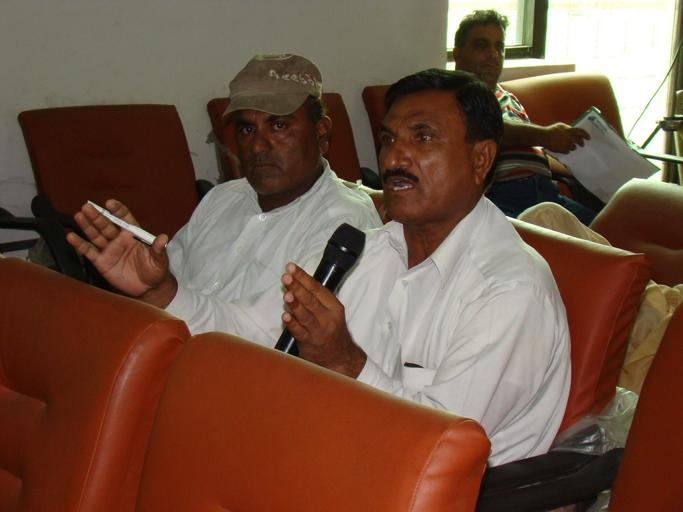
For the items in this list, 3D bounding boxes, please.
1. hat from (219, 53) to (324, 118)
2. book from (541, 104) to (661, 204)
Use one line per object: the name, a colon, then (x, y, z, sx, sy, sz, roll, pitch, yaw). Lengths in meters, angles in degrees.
hat: (-0.223, -0.558, 2.079, 0.204, 0.162, 0.292, 4, 8, 33)
book: (1.418, -0.575, 3.286, 0.480, 0.649, 0.231, -42, 2, 32)
